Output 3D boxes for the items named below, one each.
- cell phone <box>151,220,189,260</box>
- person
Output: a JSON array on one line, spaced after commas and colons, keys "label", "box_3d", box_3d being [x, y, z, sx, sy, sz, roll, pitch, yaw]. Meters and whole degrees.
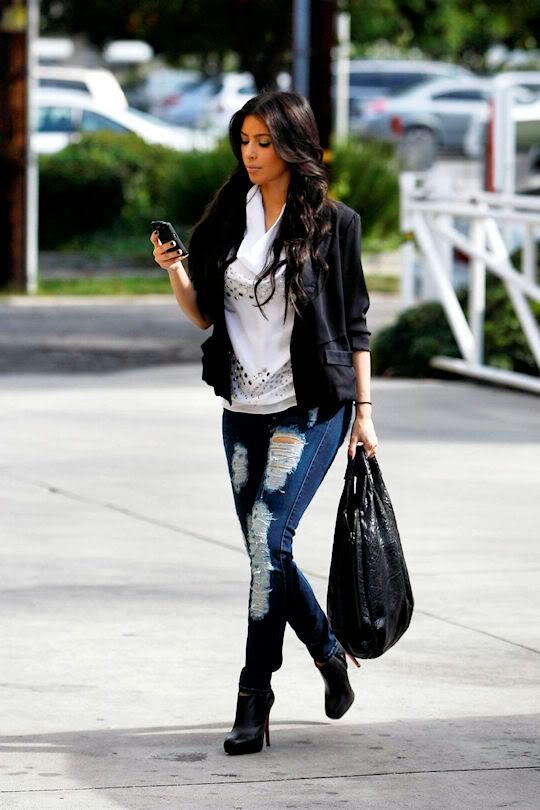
[{"label": "cell phone", "box_3d": [-0.252, -0.414, 3.673, 0.026, 0.075, 0.105, -28, 53, -33]}, {"label": "person", "box_3d": [-0.034, 0.020, 3.725, 0.433, 1.587, 0.537, 9, 12, 41]}]
